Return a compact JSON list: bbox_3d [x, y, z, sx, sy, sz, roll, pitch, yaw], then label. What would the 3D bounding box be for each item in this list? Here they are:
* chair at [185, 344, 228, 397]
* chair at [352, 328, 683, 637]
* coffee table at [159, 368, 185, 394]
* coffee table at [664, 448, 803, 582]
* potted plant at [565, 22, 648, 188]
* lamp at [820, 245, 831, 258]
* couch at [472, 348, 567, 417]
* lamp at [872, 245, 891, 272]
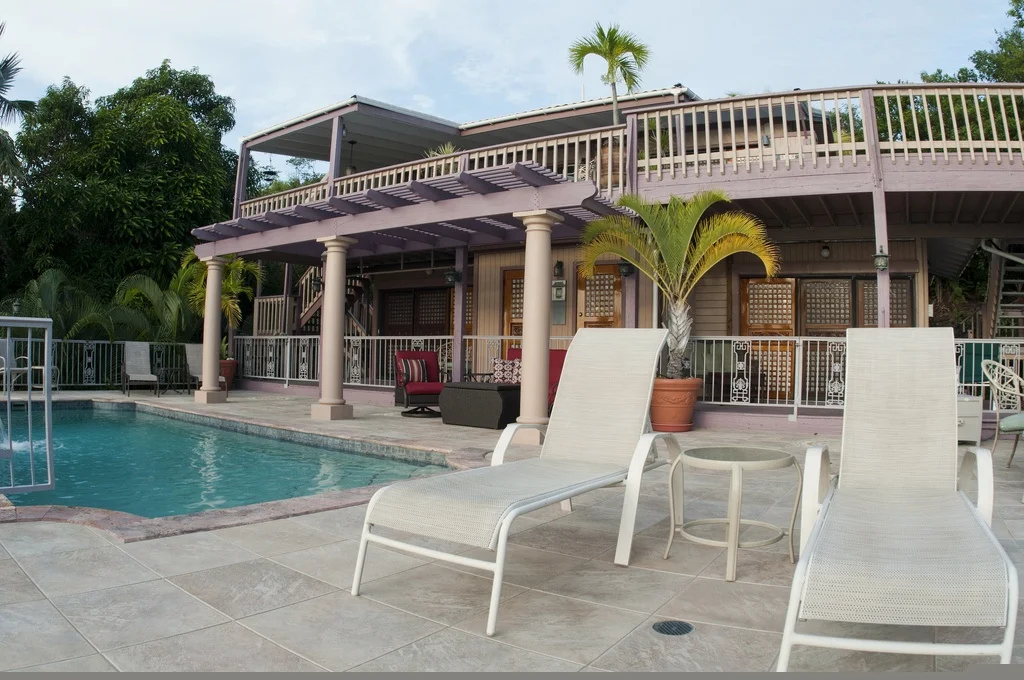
[{"bbox_3d":[-7.168,0.670,16.771,0.767,1.140,2.420,-2,6,-25],"label":"chair"},{"bbox_3d":[0.188,0.800,5.353,1.372,1.540,2.673,2,3,35],"label":"chair"},{"bbox_3d":[-8.358,0.976,17.883,0.719,0.401,0.682,1,4,0],"label":"coffee table"},{"bbox_3d":[1.619,1.235,5.308,0.972,0.721,0.943,1,-2,15],"label":"coffee table"},{"bbox_3d":[1.545,-4.566,13.197,1.910,2.158,1.835,-2,1,16],"label":"potted plant"},{"bbox_3d":[5.727,-1.629,13.226,0.207,0.236,0.122,1,6,3],"label":"lamp"},{"bbox_3d":[0.101,0.638,10.793,1.113,0.743,0.644,-2,-5,42],"label":"couch"},{"bbox_3d":[5.202,-1.162,10.243,0.160,0.354,0.193,3,7,17],"label":"lamp"}]
